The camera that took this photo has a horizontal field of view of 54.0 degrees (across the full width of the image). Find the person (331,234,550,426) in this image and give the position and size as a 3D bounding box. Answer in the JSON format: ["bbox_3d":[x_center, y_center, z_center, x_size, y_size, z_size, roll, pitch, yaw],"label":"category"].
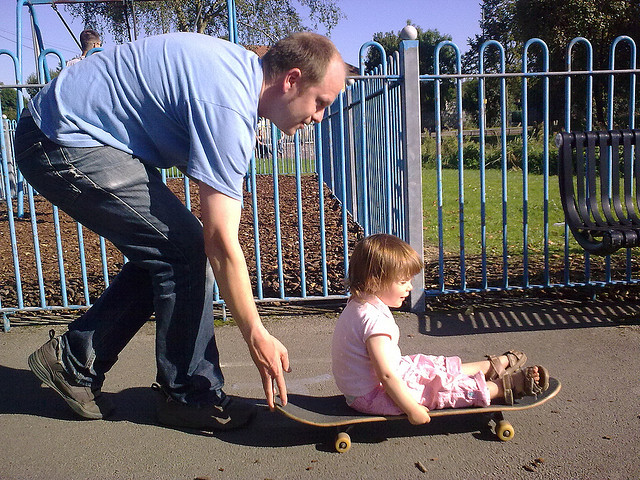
[{"bbox_3d":[0.727,0.515,3.785,1.195,1.056,0.782,1,13,1],"label":"person"}]

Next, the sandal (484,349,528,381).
[{"bbox_3d":[1.101,0.749,3.864,0.183,0.110,0.299,-8,8,24],"label":"sandal"}]

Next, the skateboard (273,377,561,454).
[{"bbox_3d":[0.519,1.048,3.735,1.587,0.277,0.387,-3,6,2],"label":"skateboard"}]
